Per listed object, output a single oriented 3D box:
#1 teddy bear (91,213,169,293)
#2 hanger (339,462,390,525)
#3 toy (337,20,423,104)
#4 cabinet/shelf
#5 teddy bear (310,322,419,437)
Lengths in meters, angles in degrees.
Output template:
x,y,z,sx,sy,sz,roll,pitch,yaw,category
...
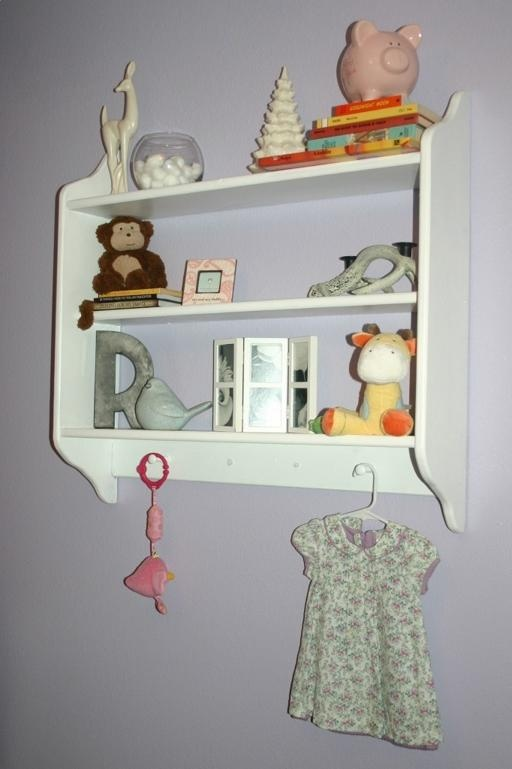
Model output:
x,y,z,sx,sy,sz,roll,pitch,yaw,category
-0.287,-0.291,1.589,0.198,0.201,0.121,-2,-6,-6,teddy bear
0.214,0.213,1.409,0.037,0.117,0.145,3,-6,-31,hanger
0.224,-0.590,1.329,0.140,0.139,0.083,2,-3,12,toy
0.022,-0.143,1.447,1.053,0.943,0.278,-1,-6,30,cabinet/shelf
0.196,-0.010,1.258,0.189,0.196,0.164,2,0,8,teddy bear
